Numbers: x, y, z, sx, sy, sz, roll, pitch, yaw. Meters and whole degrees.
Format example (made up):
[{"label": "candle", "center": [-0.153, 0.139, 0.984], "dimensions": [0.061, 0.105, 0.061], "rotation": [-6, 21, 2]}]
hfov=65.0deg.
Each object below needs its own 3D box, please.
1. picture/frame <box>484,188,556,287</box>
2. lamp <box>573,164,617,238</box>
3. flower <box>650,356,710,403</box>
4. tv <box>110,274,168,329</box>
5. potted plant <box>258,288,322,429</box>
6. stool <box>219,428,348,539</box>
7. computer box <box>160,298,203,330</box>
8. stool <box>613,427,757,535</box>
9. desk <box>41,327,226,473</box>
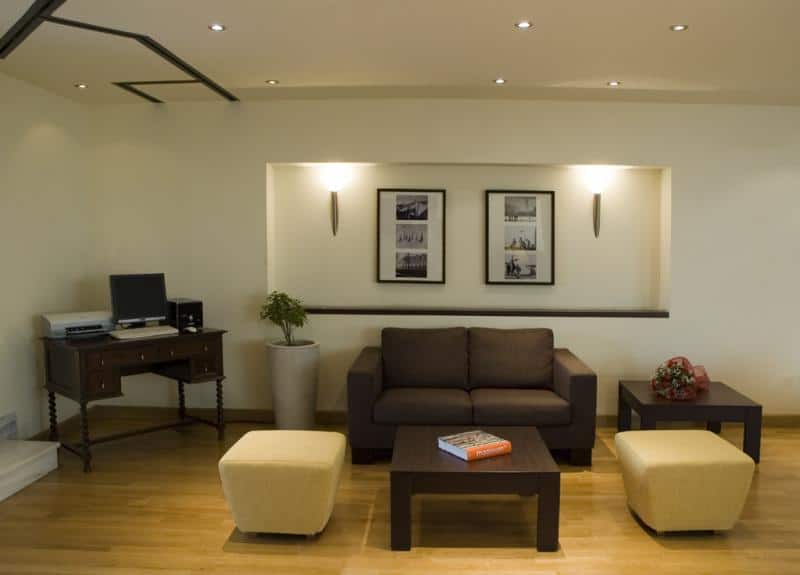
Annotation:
[{"label": "picture/frame", "center": [1.204, -0.496, 6.334], "dimensions": [0.760, 0.950, 0.032], "rotation": [4, 9, 37]}, {"label": "lamp", "center": [2.013, -0.826, 6.371], "dimensions": [0.460, 0.587, 0.372], "rotation": [1, 1, -25]}, {"label": "flower", "center": [2.522, 0.831, 5.693], "dimensions": [0.456, 0.213, 0.345], "rotation": [1, -3, -44]}, {"label": "tv", "center": [-2.435, 0.118, 5.801], "dimensions": [0.533, 0.502, 0.183], "rotation": [-2, -4, -37]}, {"label": "potted plant", "center": [-1.083, 0.704, 6.137], "dimensions": [0.470, 1.296, 0.529], "rotation": [-3, 5, -39]}, {"label": "stool", "center": [-0.834, 1.349, 4.487], "dimensions": [0.752, 0.455, 0.728], "rotation": [0, 1, -3]}, {"label": "computer box", "center": [-2.097, 0.163, 6.033], "dimensions": [0.262, 0.301, 0.449], "rotation": [-2, 6, -34]}, {"label": "stool", "center": [2.033, 1.337, 4.508], "dimensions": [0.764, 0.500, 0.729], "rotation": [0, 0, -2]}, {"label": "desk", "center": [-2.448, 0.977, 5.869], "dimensions": [0.703, 0.966, 1.444], "rotation": [1, 2, 39]}]
